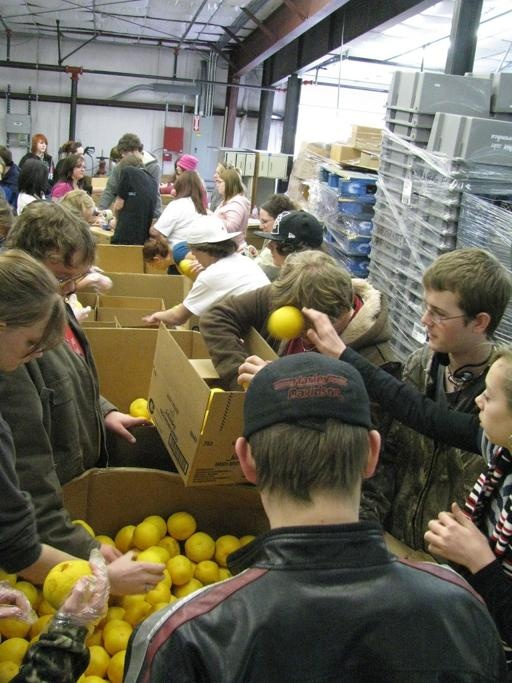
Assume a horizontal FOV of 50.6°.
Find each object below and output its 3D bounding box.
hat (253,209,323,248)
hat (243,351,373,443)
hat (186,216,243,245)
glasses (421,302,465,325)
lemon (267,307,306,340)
[{"bbox_3d":[0.179,-0.585,2.808,0.298,0.147,0.171,11,22,2],"label":"hat"},{"bbox_3d":[0.091,0.085,0.872,0.229,0.124,0.222,-1,-5,-4],"label":"hat"},{"bbox_3d":[-0.218,-0.584,2.862,0.245,0.088,0.166,-1,18,28],"label":"hat"},{"bbox_3d":[0.598,-0.076,1.716,0.094,0.028,0.086,14,15,-19],"label":"glasses"},{"bbox_3d":[0.091,-0.045,1.756,0.116,0.103,0.128,20,-13,4],"label":"lemon"}]
